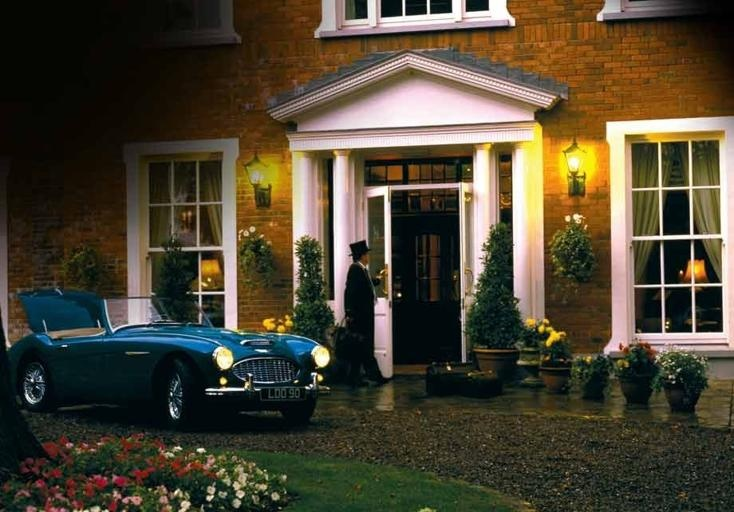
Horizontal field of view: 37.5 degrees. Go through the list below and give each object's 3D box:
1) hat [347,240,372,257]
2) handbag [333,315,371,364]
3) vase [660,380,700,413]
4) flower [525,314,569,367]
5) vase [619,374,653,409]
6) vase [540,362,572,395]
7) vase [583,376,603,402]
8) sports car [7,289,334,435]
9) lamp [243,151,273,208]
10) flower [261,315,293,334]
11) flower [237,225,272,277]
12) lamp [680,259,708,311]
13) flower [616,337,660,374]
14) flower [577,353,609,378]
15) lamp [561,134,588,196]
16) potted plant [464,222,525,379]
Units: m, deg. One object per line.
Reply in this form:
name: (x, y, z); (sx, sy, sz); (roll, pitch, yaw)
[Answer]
hat: (-0.127, -0.100, 16.415); (0.265, 0.136, 0.234); (-17, 6, 37)
handbag: (-0.207, 1.292, 16.038); (0.415, 0.571, 0.588); (0, -4, 2)
vase: (3.944, 1.764, 13.654); (0.379, 0.279, 0.386); (2, -8, -5)
flower: (2.554, 1.209, 15.427); (0.579, 0.479, 0.650); (-3, -4, 17)
vase: (3.516, 1.731, 14.162); (0.375, 0.286, 0.383); (1, -8, -3)
vase: (2.598, 1.688, 15.121); (0.399, 0.302, 0.402); (2, -7, -13)
vase: (3.052, 1.738, 14.588); (0.345, 0.351, 0.307); (0, -1, 10)
sports car: (-2.531, 1.218, 13.457); (3.797, 1.582, 1.244); (0, -1, 28)
lamp: (-1.758, -1.207, 17.462); (0.437, 0.854, 0.231); (0, -1, 0)
flower: (-1.424, 1.073, 17.238); (0.353, 0.112, 0.367); (-2, 3, 22)
flower: (-1.804, -0.081, 17.336); (0.581, 0.786, 0.508); (-5, -5, -1)
lamp: (5.022, 0.305, 16.599); (0.383, 0.537, 0.393); (2, 9, 17)
flower: (3.514, 1.284, 14.239); (0.458, 0.399, 0.449); (-4, 0, -38)
flower: (3.069, 1.478, 14.718); (0.326, 0.245, 0.337); (-4, -1, 17)
lamp: (3.170, -1.370, 16.572); (0.347, 0.889, 0.178); (0, -1, 9)
potted plant: (1.903, 0.670, 16.144); (0.798, 2.313, 0.408); (0, -1, 2)
